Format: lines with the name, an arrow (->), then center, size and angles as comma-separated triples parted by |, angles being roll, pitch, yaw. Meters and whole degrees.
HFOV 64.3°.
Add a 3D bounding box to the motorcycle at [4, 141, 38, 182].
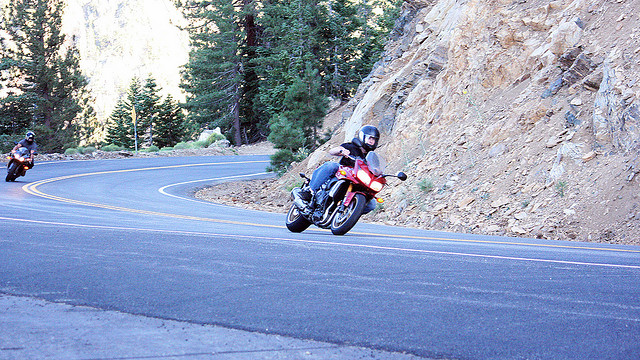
motorcycle -> -14.624, -0.838, 24.499 | 1.200, 1.614, 1.448 | -6, 16, -29
